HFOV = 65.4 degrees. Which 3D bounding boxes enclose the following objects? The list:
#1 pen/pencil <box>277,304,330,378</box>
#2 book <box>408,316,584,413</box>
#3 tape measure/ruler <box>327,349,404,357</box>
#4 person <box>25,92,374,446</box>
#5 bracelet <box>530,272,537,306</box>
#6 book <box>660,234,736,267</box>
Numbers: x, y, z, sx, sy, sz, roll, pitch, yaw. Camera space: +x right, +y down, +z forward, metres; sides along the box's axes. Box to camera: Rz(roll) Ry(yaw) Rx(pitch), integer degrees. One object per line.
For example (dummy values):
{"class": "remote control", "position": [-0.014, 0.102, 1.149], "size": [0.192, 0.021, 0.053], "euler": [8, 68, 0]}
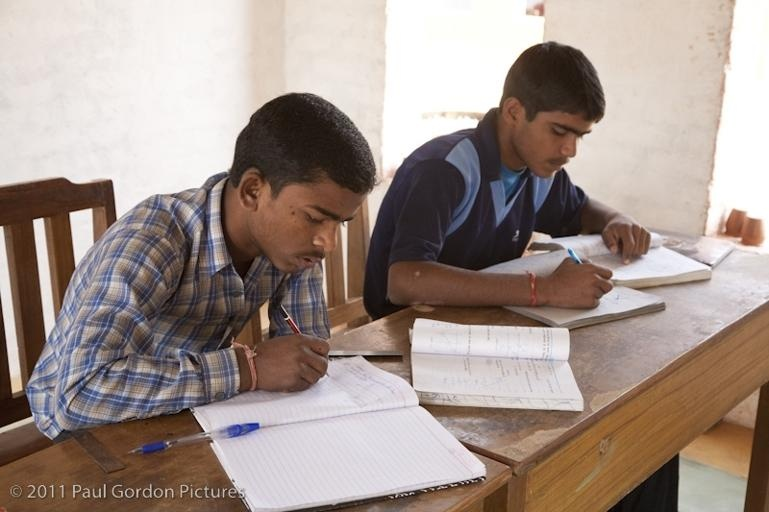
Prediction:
{"class": "pen/pencil", "position": [-0.200, 0.205, 1.431], "size": [0.020, 0.191, 0.020], "euler": [-6, 40, 41]}
{"class": "book", "position": [0.258, 0.235, 1.419], "size": [0.400, 0.094, 0.367], "euler": [1, 16, -3]}
{"class": "tape measure/ruler", "position": [-0.045, 0.237, 1.440], "size": [0.128, 0.008, 0.018], "euler": [1, 4, 0]}
{"class": "person", "position": [-0.381, 0.110, 1.490], "size": [0.731, 0.925, 0.624], "euler": [5, 25, -3]}
{"class": "bracelet", "position": [0.416, 0.088, 1.677], "size": [0.016, 0.063, 0.056], "euler": [-2, 17, 11]}
{"class": "book", "position": [1.098, -0.016, 2.117], "size": [0.172, 0.055, 0.196], "euler": [17, 22, 39]}
